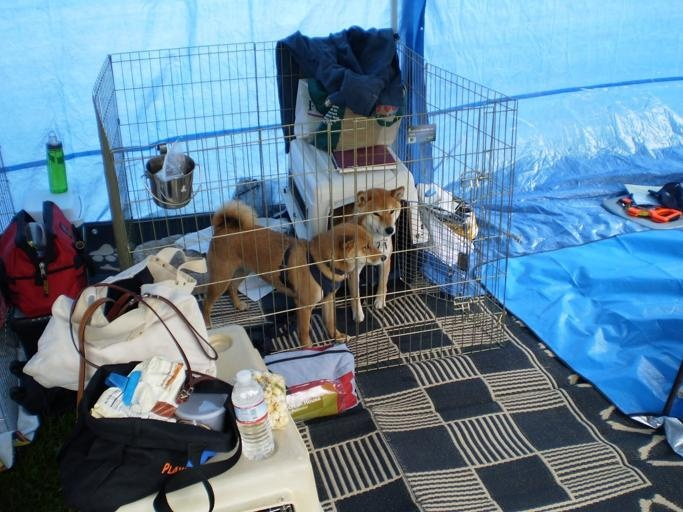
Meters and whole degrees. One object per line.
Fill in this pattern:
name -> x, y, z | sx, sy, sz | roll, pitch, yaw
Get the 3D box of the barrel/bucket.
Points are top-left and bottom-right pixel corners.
barrel/bucket -> -1.075, -0.419, 3.630 | 0.365, 0.296, 0.355 | -1, 28, 1

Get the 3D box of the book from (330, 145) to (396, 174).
book -> 0.180, -0.762, 4.361 | 0.442, 0.082, 0.432 | -10, 25, -10

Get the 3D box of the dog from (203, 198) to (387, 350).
dog -> -0.386, 0.154, 4.052 | 1.225, 1.023, 0.477 | 12, 28, 12

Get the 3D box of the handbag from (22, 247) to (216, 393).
handbag -> -0.982, 0.335, 2.622 | 0.729, 0.331, 0.855 | -14, 23, -10
